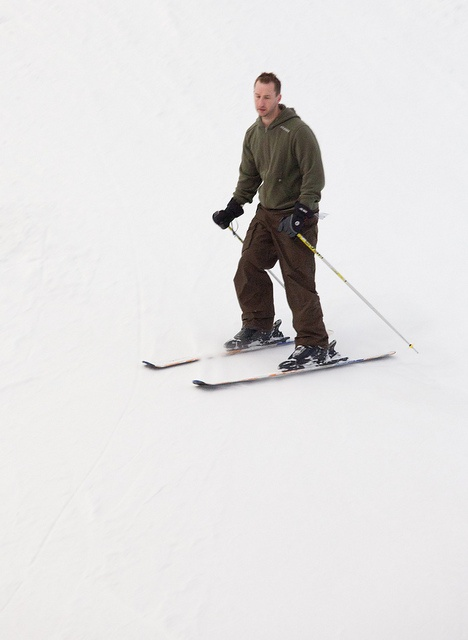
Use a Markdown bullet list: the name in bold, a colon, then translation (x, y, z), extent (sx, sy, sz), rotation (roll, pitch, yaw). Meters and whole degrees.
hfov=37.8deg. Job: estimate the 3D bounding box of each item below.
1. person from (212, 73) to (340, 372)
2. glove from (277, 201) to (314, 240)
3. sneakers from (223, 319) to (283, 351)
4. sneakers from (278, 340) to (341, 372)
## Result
- **person**: translation (0.210, -0.426, 3.800), extent (0.718, 1.241, 1.352), rotation (2, -32, 8)
- **glove**: translation (0.318, -0.524, 3.576), extent (0.187, 0.144, 0.057), rotation (-49, -15, 26)
- **sneakers**: translation (0.127, 0.091, 4.273), extent (0.414, 0.160, 0.144), rotation (-6, 5, -24)
- **sneakers**: translation (0.425, 0.217, 3.911), extent (0.458, 0.178, 0.136), rotation (-9, 2, -26)
